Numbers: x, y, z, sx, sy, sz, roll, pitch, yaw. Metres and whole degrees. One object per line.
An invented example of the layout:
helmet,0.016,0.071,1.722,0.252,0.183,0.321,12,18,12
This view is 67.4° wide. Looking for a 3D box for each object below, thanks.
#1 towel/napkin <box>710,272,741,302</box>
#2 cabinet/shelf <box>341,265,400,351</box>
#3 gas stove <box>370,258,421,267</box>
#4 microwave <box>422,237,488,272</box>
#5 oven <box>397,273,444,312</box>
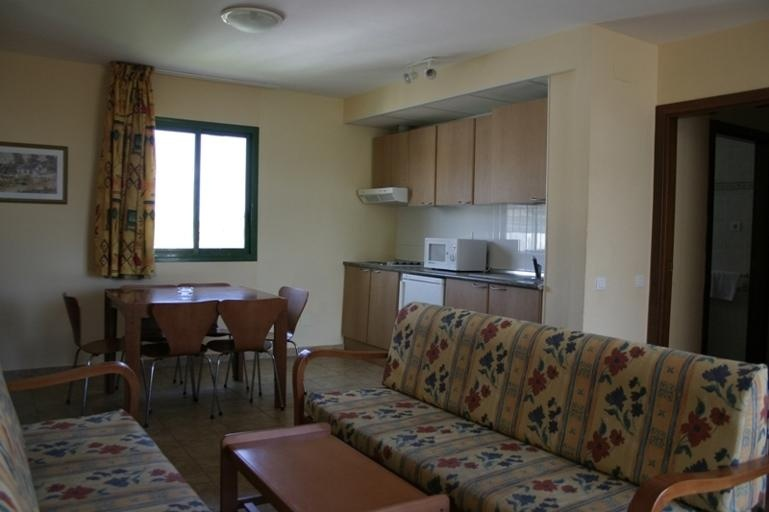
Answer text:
towel/napkin,3.729,0.323,6.292,0.146,0.244,0.316,15,-6,-28
cabinet/shelf,-0.138,0.602,6.794,0.574,0.958,0.995,4,2,-33
gas stove,0.146,0.078,7.358,0.650,0.038,0.966,2,3,4
microwave,0.821,-0.010,6.454,0.409,0.338,0.532,3,-3,-24
oven,0.391,0.357,5.895,0.216,0.398,0.413,-3,7,-40
